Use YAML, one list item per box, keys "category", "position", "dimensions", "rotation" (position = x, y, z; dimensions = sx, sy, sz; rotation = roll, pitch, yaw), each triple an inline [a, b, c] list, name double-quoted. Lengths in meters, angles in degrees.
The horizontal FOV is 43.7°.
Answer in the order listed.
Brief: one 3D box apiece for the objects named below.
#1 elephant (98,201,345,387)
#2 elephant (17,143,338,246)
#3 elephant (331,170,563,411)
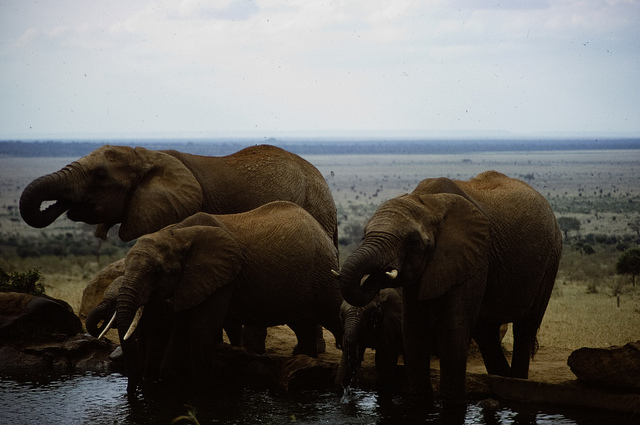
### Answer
- category: "elephant"
  position: [-1.367, 1.421, 14.397]
  dimensions: [4.681, 3.250, 1.629]
  rotation: [-4, 3, -34]
- category: "elephant"
  position: [-2.783, -0.456, 16.168]
  dimensions: [6.098, 3.295, 2.290]
  rotation: [2, -2, -24]
- category: "elephant"
  position: [2.279, 1.249, 13.524]
  dimensions: [4.339, 3.831, 2.080]
  rotation: [4, 2, -28]
